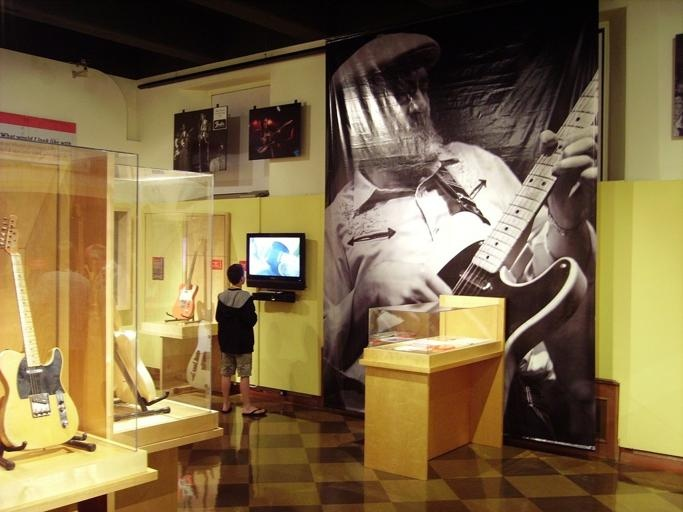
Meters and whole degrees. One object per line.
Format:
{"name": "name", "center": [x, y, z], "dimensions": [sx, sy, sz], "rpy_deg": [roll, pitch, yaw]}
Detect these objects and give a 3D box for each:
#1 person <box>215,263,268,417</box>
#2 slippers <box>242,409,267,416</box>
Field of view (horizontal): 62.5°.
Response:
{"name": "person", "center": [-1.302, 1.056, 7.200], "dimensions": [0.579, 1.922, 0.679], "rpy_deg": [0, 2, -8]}
{"name": "slippers", "center": [-1.101, 1.996, 7.146], "dimensions": [0.221, 0.064, 0.118], "rpy_deg": [-1, 0, -1]}
